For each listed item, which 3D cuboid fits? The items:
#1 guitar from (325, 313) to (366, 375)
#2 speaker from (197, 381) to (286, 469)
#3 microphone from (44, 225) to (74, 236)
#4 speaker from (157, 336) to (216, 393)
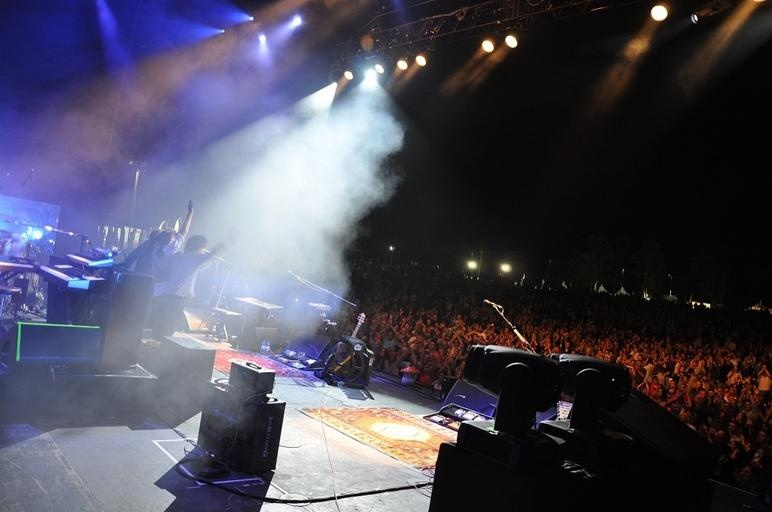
[{"bbox_3d":[-0.968,2.275,11.477,0.494,1.693,0.661,24,1,-37],"label":"guitar"},{"bbox_3d":[-1.990,2.321,6.395,0.913,0.820,0.504,13,-6,36],"label":"speaker"},{"bbox_3d":[-8.568,-0.379,12.161,1.091,0.222,0.222,12,15,28],"label":"microphone"},{"bbox_3d":[-3.219,1.802,7.471,0.723,0.638,0.374,6,2,31],"label":"speaker"}]
